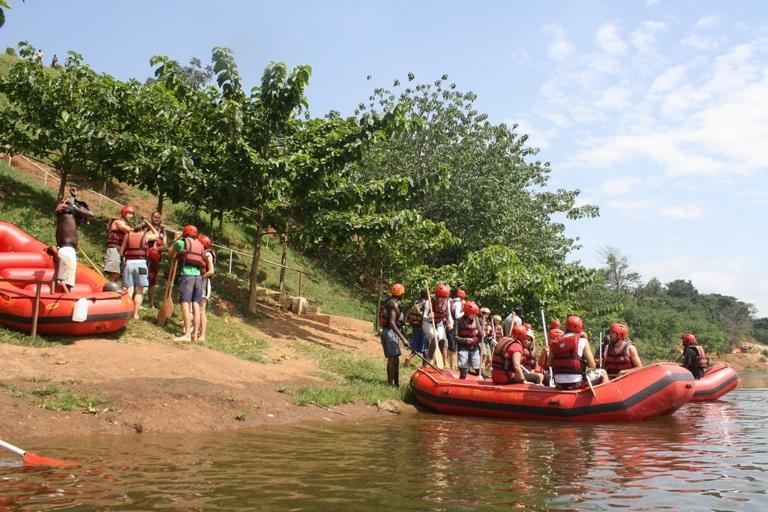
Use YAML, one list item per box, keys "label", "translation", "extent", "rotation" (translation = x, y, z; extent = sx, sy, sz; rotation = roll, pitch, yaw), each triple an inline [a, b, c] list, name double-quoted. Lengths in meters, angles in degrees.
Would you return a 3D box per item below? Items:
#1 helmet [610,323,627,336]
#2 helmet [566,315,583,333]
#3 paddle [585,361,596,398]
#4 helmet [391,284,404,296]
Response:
- label: "helmet"
  translation: [6.219, 1.913, 18.781]
  extent: [0.431, 0.243, 0.325]
  rotation: [-4, -1, 5]
- label: "helmet"
  translation: [4.717, 1.683, 17.832]
  extent: [0.369, 0.428, 0.488]
  rotation: [13, 5, 36]
- label: "paddle"
  translation: [5.196, 3.099, 17.971]
  extent: [0.244, 0.915, 0.820]
  rotation: [-4, -14, 16]
- label: "helmet"
  translation: [0.388, 0.902, 19.460]
  extent: [0.275, 0.289, 0.370]
  rotation: [-1, -7, -25]
